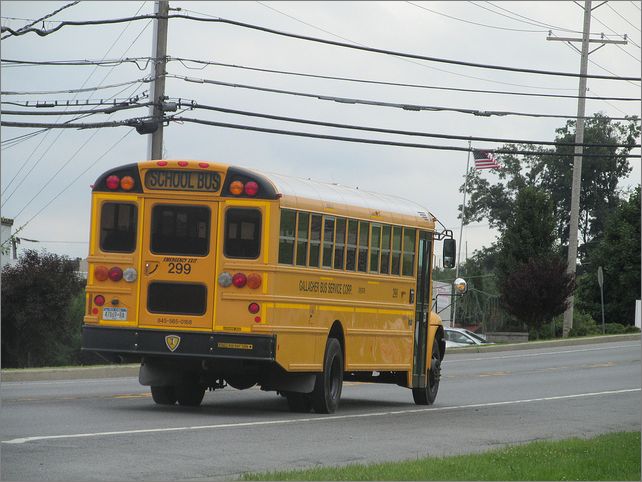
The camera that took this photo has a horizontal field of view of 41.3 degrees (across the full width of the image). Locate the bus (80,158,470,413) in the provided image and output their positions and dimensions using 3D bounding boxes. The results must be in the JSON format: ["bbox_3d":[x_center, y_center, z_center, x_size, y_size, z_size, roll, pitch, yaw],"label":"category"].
[{"bbox_3d":[-0.785,0.900,15.290,6.440,4.037,2.578,4,-2,-40],"label":"bus"}]
